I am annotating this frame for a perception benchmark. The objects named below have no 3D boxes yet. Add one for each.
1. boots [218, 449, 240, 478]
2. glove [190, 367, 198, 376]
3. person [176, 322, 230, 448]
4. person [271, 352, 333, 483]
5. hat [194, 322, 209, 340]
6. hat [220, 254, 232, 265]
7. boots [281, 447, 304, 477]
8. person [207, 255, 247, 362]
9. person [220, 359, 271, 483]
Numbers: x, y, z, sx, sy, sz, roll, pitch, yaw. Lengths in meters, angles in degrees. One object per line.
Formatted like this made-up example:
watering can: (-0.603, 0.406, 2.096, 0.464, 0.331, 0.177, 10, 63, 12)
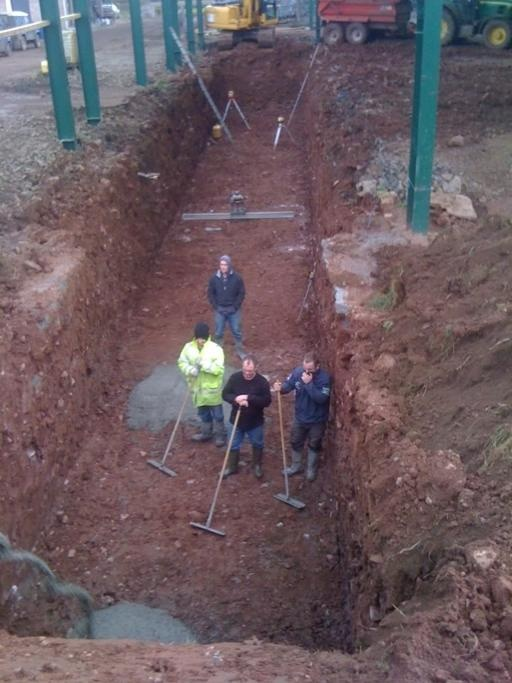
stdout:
boots: (-0.290, 1.394, 8.896, 0.293, 0.413, 0.164, 6, 25, -8)
glove: (-0.691, 0.347, 8.747, 0.079, 0.102, 0.049, 4, -13, -14)
person: (-0.621, 0.514, 9.064, 0.443, 1.502, 0.380, 0, 19, 6)
person: (0.520, 0.830, 8.431, 0.492, 1.521, 0.543, 4, 24, 10)
hat: (-0.618, -0.106, 8.733, 0.120, 0.179, 0.190, -2, 13, -3)
hat: (-0.406, -1.079, 10.375, 0.106, 0.132, 0.275, -1, 22, 5)
boots: (0.437, 1.320, 9.001, 0.301, 0.407, 0.197, -7, 35, -15)
person: (-0.413, -0.461, 10.856, 0.433, 1.615, 0.350, -2, 35, -1)
person: (-0.110, 0.857, 8.514, 0.441, 1.486, 0.447, -1, 25, -6)
